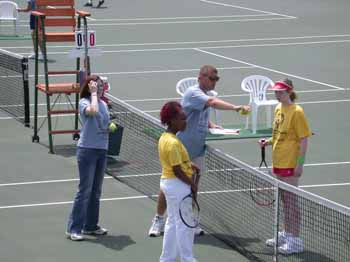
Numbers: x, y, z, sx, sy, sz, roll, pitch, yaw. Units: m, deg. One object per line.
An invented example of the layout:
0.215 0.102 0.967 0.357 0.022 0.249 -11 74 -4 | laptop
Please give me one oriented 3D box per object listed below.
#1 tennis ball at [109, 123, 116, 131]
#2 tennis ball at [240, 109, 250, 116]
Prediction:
-1.459 -0.119 16.073 0.140 0.146 0.142 40 -1 1 | tennis ball
1.463 -0.400 14.577 0.180 0.139 0.189 1 6 0 | tennis ball
